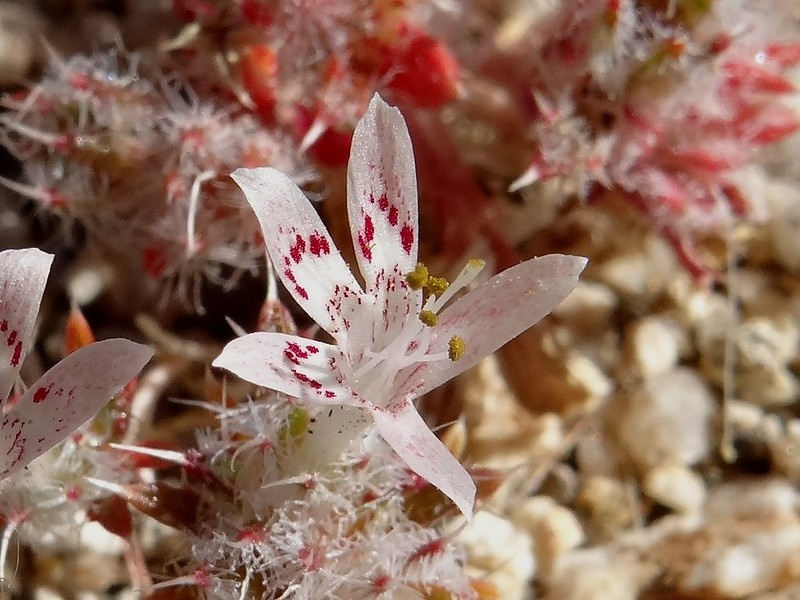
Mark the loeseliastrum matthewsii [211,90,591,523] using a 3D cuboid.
[{"bbox_3d":[-0.012,-0.014,1.616,0.482,0.474,0.356,20,13,8],"label":"loeseliastrum matthewsii"}]
